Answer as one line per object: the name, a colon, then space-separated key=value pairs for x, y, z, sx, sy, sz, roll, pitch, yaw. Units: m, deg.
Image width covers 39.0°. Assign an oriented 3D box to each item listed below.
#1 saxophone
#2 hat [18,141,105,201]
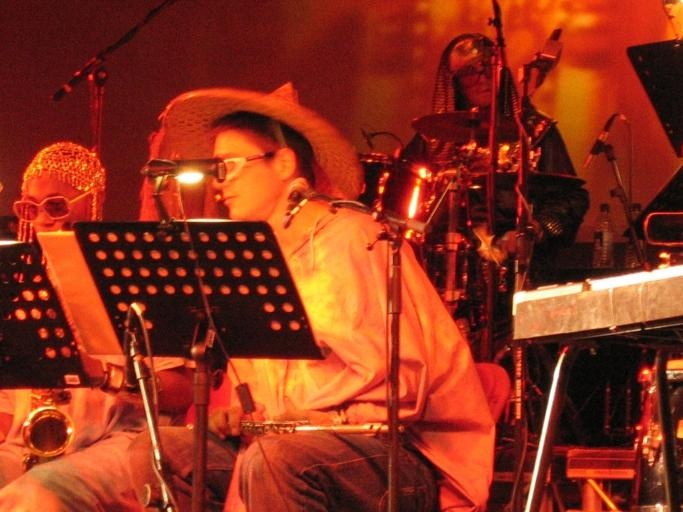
saxophone: x=-1.259 y=0.751 z=4.235 sx=0.242 sy=0.313 sz=0.329 roll=-3 pitch=-22 yaw=-19
hat: x=-1.352 y=-0.444 z=4.782 sx=0.334 sy=0.206 sz=0.303 roll=7 pitch=-13 yaw=-30
